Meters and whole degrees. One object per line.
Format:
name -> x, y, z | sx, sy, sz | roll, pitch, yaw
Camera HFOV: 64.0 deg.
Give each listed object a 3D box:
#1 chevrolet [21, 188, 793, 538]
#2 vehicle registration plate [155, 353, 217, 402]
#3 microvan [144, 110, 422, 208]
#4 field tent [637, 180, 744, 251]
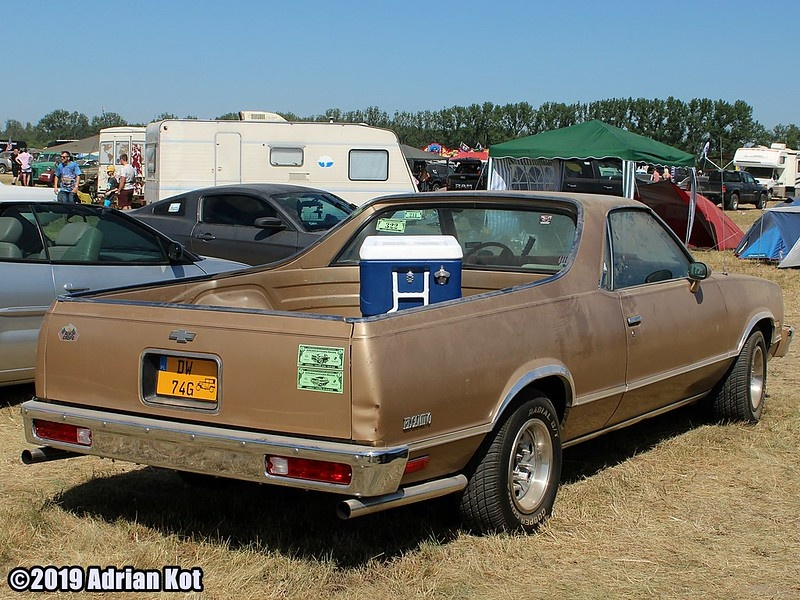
chevrolet -> 0.729, 0.162, 4.744 | 5.992, 1.914, 2.143 | -5, 8, -42
vehicle registration plate -> -1.015, 0.364, 3.048 | 0.360, 0.200, 0.022 | 2, -1, 21
microvan -> -2.753, -3.145, 16.649 | 6.446, 2.967, 2.176 | 1, 2, -6
field tent -> 8.396, -2.476, 18.677 | 2.994, 2.599, 4.230 | 3, 10, 19
